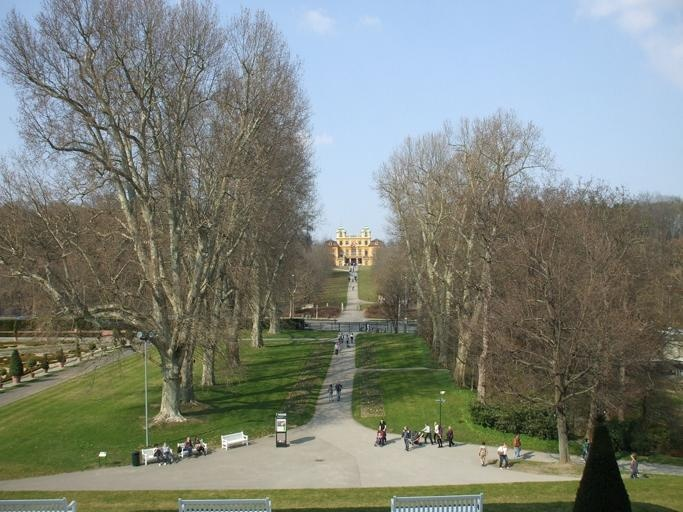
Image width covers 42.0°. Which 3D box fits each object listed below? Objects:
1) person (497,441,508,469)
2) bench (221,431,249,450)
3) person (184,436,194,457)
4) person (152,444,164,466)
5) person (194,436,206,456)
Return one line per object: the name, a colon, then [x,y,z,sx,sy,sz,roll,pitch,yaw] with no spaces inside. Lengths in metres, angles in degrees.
person: [10.874,13.444,60.618,0.679,1.411,1.746,4,10,11]
bench: [-7.426,12.720,61.811,2.060,0.803,0.937,-6,13,-38]
person: [-10.286,12.837,60.047,0.576,1.149,0.505,0,10,-11]
person: [-12.060,13.167,58.929,0.606,1.130,0.353,-1,6,19]
person: [-9.588,12.949,60.386,0.675,0.744,1.136,0,-3,-8]
